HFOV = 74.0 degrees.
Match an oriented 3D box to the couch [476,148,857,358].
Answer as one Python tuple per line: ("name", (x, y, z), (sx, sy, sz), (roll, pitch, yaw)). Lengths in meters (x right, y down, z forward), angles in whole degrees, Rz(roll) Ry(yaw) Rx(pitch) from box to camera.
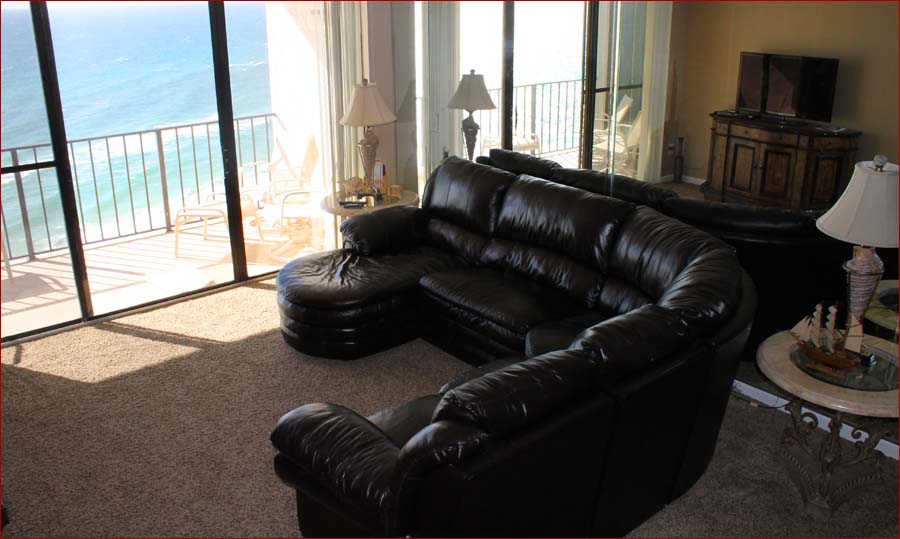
("couch", (1.585, -0.226, 5.320), (2.852, 1.001, 0.950), (16, 16, 30))

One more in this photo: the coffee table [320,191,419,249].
("coffee table", (-0.882, -0.538, 5.939), (0.588, 0.316, 0.554), (-16, 34, -29))

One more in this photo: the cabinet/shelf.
("cabinet/shelf", (2.810, -0.924, 5.240), (0.441, 0.701, 1.221), (-18, 28, -26))

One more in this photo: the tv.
("tv", (2.795, -1.491, 4.885), (0.713, 0.452, 0.185), (18, 38, 33))
